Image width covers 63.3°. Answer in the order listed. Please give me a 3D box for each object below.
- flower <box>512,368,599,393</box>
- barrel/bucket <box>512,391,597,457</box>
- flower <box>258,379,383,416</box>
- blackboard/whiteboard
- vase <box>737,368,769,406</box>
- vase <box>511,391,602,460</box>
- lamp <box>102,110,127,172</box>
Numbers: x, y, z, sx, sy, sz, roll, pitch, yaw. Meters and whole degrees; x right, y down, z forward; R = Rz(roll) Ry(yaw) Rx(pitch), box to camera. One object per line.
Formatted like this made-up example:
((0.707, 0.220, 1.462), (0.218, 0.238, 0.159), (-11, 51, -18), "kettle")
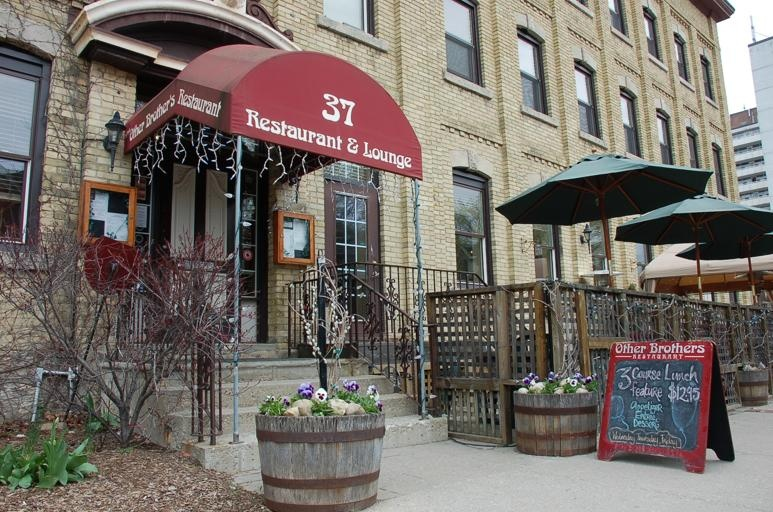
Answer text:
((2.360, 1.743, 8.695), (1.082, 0.284, 0.453), (0, -8, -11), "flower")
((2.271, 2.248, 8.505), (0.879, 0.588, 0.909), (-1, -7, 0), "barrel/bucket")
((-0.717, 1.578, 7.022), (1.337, 0.347, 0.635), (0, -8, -12), "flower")
((3.562, 1.900, 8.193), (1.159, 1.449, 0.743), (-9, -28, 39), "blackboard/whiteboard")
((7.301, 2.573, 12.430), (0.637, 0.696, 0.682), (-4, -7, 43), "vase")
((2.323, 2.209, 8.605), (0.880, 0.592, 0.912), (-4, -8, 25), "vase")
((-4.147, -1.755, 9.588), (0.286, 0.885, 0.285), (2, -9, -27), "lamp")
